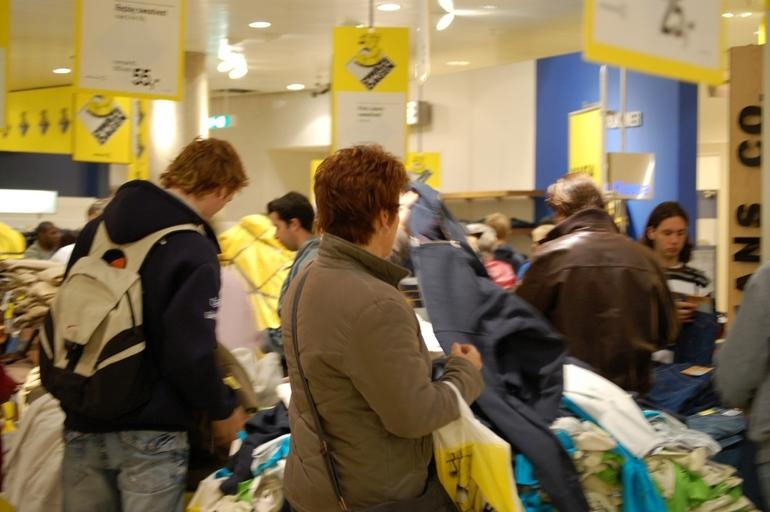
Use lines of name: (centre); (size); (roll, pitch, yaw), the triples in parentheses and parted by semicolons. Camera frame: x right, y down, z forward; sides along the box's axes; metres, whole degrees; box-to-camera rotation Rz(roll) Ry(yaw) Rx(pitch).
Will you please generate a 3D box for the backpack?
backpack: (-1.227, 0.188, 3.052); (0.499, 0.749, 0.778); (20, 12, 15)
